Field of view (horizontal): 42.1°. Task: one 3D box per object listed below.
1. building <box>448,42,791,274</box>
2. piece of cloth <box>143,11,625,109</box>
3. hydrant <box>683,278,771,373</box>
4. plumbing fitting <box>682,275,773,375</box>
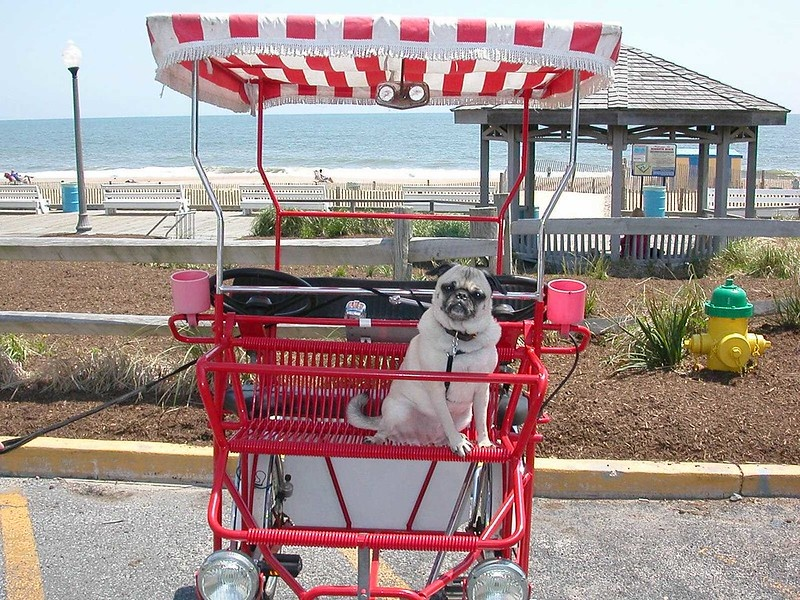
[{"bbox_3d":[4.311,-3.118,20.656,5.752,4.427,6.104,-2,11,-11],"label":"building"},{"bbox_3d":[-0.091,-1.673,7.569,3.111,0.785,2.643,0,14,1],"label":"piece of cloth"},{"bbox_3d":[3.065,0.236,9.630,0.774,0.903,0.548,-1,10,2],"label":"hydrant"},{"bbox_3d":[3.051,0.259,9.629,0.770,0.875,0.563,0,11,11],"label":"plumbing fitting"}]
